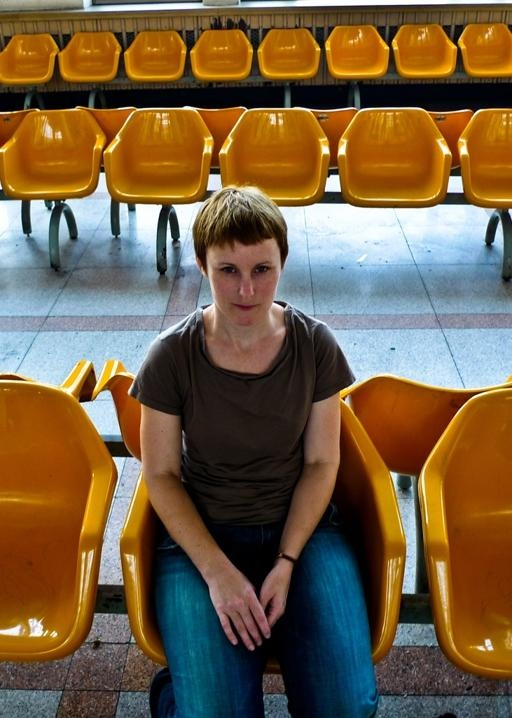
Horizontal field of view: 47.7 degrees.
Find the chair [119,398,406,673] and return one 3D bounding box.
[{"bbox_3d":[0.017,0.227,1.173,0.496,0.410,0.497,-2,16,1],"label":"chair"}]

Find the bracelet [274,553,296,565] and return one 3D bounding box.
[{"bbox_3d":[0.051,0.362,1.056,0.025,0.008,0.025,27,1,-25],"label":"bracelet"}]
